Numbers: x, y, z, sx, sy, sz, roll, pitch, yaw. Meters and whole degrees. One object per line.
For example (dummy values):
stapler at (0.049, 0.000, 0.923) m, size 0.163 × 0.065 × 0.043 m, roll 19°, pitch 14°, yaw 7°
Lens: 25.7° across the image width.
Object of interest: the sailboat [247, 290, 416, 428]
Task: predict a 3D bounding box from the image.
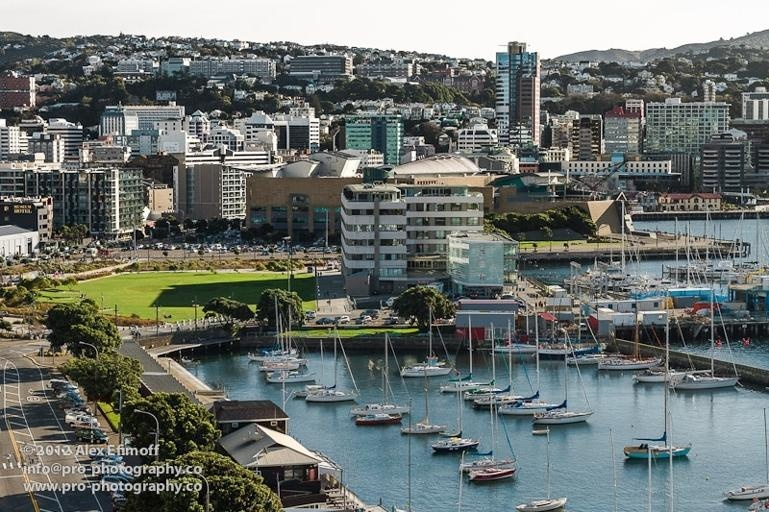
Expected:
sailboat at (-4.708, 8.422, 148.984) m, size 12.829 × 10.001 × 21.776 m, roll -4°, pitch 4°, yaw -15°
